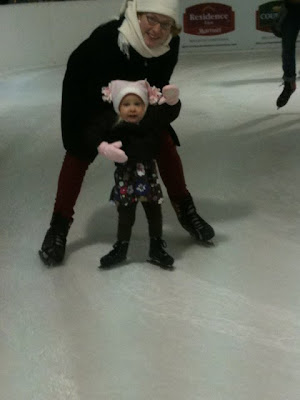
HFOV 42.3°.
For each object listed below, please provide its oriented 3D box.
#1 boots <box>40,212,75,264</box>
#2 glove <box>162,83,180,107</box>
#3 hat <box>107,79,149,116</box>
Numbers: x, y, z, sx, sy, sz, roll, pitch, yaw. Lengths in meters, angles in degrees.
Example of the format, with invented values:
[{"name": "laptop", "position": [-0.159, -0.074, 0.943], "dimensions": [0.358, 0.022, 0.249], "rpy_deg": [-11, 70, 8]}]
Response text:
[{"name": "boots", "position": [-0.273, 0.118, 1.215], "dimensions": [0.075, 0.174, 0.081], "rpy_deg": [14, -11, -24]}, {"name": "glove", "position": [0.041, -0.250, 0.907], "dimensions": [0.033, 0.018, 0.050], "rpy_deg": [-1, -12, 7]}, {"name": "hat", "position": [-0.055, -0.238, 0.908], "dimensions": [0.093, 0.049, 0.083], "rpy_deg": [-4, 10, -6]}]
